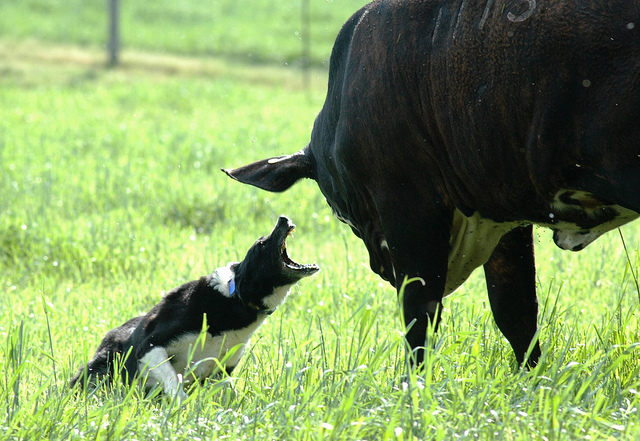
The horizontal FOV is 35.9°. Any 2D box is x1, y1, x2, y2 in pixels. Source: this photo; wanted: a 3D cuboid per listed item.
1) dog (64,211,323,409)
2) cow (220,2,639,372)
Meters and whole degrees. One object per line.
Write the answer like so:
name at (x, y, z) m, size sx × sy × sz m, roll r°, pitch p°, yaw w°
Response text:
dog at (-0.961, 0.852, 7.292) m, size 2.173 × 1.345 × 0.675 m, roll -17°, pitch -32°, yaw 36°
cow at (0.963, -0.222, 6.468) m, size 2.153 × 2.517 × 0.961 m, roll 5°, pitch 18°, yaw 11°
